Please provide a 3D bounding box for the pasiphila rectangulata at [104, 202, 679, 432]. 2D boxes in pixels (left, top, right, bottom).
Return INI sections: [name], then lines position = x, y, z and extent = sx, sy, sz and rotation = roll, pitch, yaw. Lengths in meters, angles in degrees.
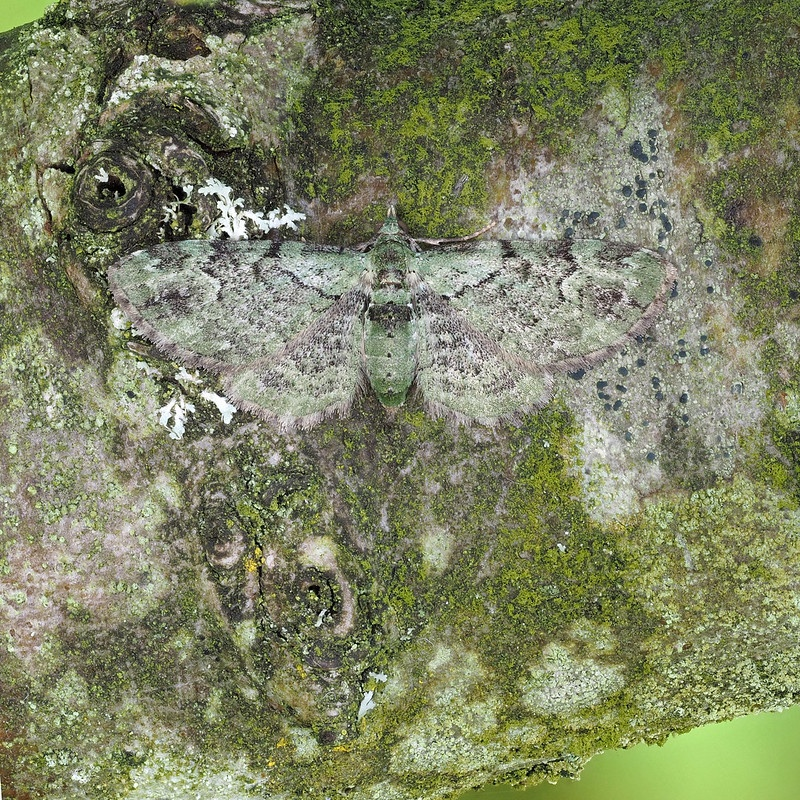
[pasiphila rectangulata]
position = -0.021, -0.458, 9.037
extent = 2.252, 1.313, 0.339
rotation = 3, -8, -2
